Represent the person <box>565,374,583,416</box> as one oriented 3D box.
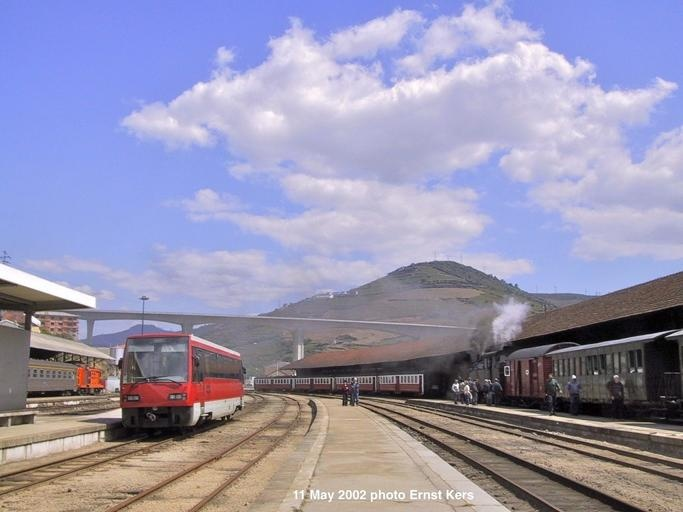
[{"bbox_3d":[11.586,6.909,26.919,0.556,1.900,1.050,-6,-17,22],"label":"person"}]
